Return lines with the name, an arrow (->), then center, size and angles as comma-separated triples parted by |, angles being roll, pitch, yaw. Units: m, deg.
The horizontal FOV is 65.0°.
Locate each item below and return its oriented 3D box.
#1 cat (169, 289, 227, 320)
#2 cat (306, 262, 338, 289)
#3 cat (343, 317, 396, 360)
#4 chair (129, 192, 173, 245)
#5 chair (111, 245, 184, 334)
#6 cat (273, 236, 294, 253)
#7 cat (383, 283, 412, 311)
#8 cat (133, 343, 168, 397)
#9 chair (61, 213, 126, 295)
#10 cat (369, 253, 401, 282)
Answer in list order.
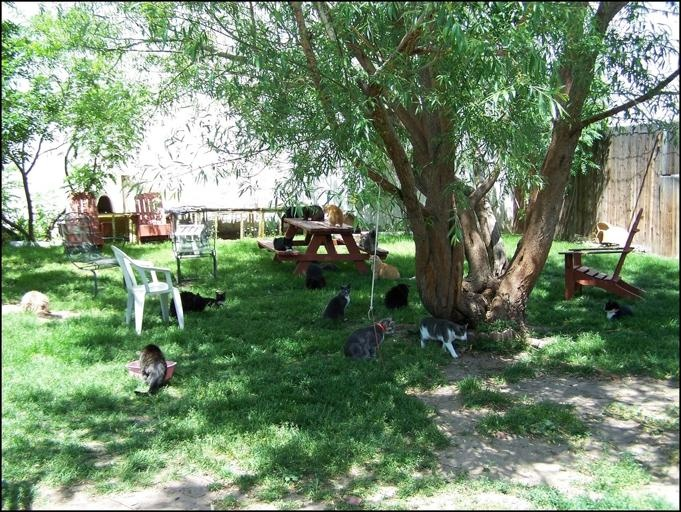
cat -> -2.045, 0.693, 7.678 | 0.790, 0.469, 0.250 | 0, 13, -36
cat -> -0.372, 0.351, 9.594 | 0.251, 0.391, 0.900 | 1, 3, 11
cat -> 0.304, 0.957, 6.358 | 0.414, 0.365, 0.734 | 5, 13, 17
chair -> -4.908, -1.013, 13.840 | 0.924, 1.210, 1.042 | -3, 14, -19
chair -> -2.473, 0.389, 6.985 | 0.778, 1.128, 0.761 | -4, 9, -18
cat -> -1.125, -0.230, 10.613 | 0.353, 0.328, 0.299 | -6, 15, -27
cat -> 0.862, 0.616, 8.145 | 0.237, 0.246, 0.451 | 5, 15, 26
cat -> -1.876, 1.120, 5.323 | 0.178, 0.221, 0.520 | -5, 26, -9
chair -> -3.970, -0.053, 8.582 | 0.810, 1.143, 0.589 | 14, 24, 22
cat -> 0.858, 0.241, 9.969 | 0.479, 0.387, 0.651 | 4, 13, 11
